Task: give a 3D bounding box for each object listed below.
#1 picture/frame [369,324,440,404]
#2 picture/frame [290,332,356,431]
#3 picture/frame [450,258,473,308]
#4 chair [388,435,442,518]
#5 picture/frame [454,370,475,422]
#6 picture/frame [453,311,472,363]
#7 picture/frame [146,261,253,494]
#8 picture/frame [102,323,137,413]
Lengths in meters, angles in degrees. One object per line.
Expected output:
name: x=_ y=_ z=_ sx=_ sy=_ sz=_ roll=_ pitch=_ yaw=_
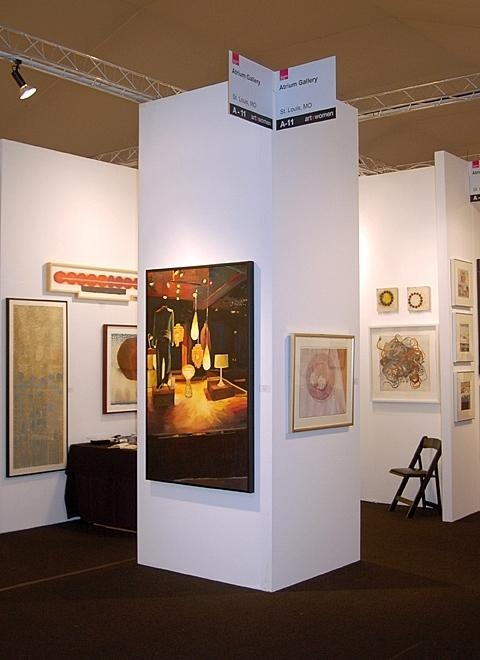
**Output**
picture/frame: x=1.913 y=0.380 z=6.199 sx=0.775 sy=0.050 sz=1.143 roll=-4 pitch=48 yaw=22
picture/frame: x=0.563 y=0.355 z=3.705 sx=0.040 sy=0.724 sz=0.556 roll=2 pitch=3 yaw=42
picture/frame: x=2.468 y=-0.518 z=5.888 sx=0.078 sy=0.594 sz=0.640 roll=-7 pitch=-11 yaw=40
chair: x=1.967 y=1.603 z=5.864 sx=0.432 sy=0.869 sz=0.505 roll=3 pitch=-4 yaw=14
picture/frame: x=2.458 y=0.729 z=5.796 sx=0.136 sy=0.565 sz=0.636 roll=-5 pitch=-11 yaw=33
picture/frame: x=2.409 y=0.079 z=5.746 sx=0.050 sy=0.695 sz=0.449 roll=-1 pitch=0 yaw=32
picture/frame: x=-0.281 y=0.262 z=3.677 sx=0.736 sy=1.708 sz=0.092 roll=-2 pitch=27 yaw=-9
picture/frame: x=-1.384 y=0.434 z=6.054 sx=0.393 sy=1.032 sz=0.406 roll=2 pitch=-8 yaw=-16
